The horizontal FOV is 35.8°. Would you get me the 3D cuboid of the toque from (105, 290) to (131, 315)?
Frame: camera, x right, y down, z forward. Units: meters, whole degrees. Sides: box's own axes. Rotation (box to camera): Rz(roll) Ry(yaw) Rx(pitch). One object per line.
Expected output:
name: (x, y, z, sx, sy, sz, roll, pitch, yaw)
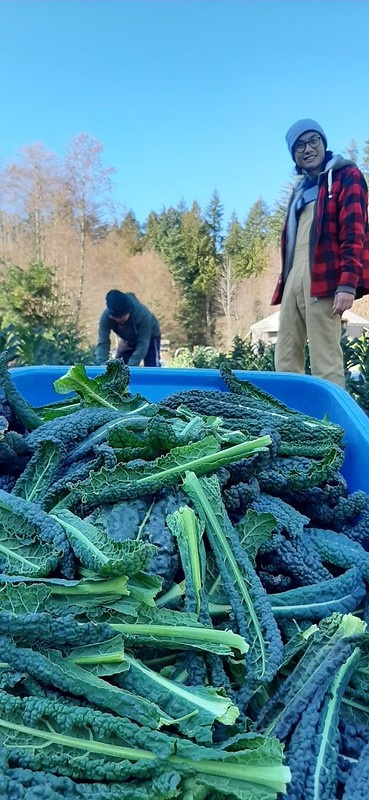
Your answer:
toque: (-0.815, -1.176, 6.956, 0.291, 0.326, 0.333, 1, 1, -8)
